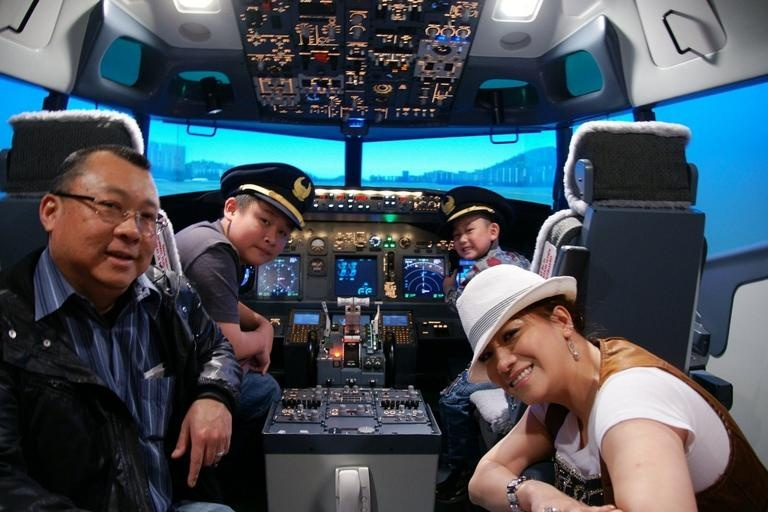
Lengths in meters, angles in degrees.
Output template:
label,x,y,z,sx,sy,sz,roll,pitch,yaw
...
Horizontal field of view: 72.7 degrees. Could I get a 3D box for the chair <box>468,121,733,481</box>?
label,x,y,z,sx,sy,sz,roll,pitch,yaw
chair,1.208,0.196,3.240,1.306,1.647,1.492,-4,3,1

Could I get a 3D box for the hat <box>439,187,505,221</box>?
label,x,y,z,sx,sy,sz,roll,pitch,yaw
hat,0.715,-0.390,4.231,0.496,0.209,0.449,9,-18,-31

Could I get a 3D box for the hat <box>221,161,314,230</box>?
label,x,y,z,sx,sy,sz,roll,pitch,yaw
hat,-0.732,-0.384,3.236,0.617,0.258,0.525,7,-13,28

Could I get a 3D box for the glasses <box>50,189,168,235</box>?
label,x,y,z,sx,sy,sz,roll,pitch,yaw
glasses,-1.075,-0.162,1.996,0.367,0.174,0.125,2,0,-24
